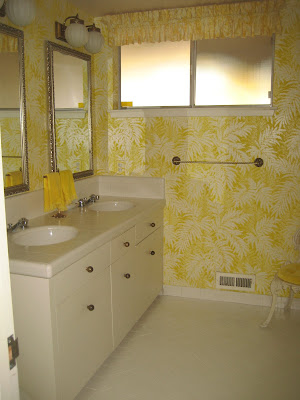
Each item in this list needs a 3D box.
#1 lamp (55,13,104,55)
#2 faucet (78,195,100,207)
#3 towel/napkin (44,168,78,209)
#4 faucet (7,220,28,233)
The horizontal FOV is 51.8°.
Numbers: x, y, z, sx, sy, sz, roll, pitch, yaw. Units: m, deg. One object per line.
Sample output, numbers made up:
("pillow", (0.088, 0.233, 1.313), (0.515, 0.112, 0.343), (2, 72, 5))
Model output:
("lamp", (-0.509, -1.200, 2.242), (0.250, 0.259, 0.430), (1, 7, 14))
("faucet", (-0.500, 0.010, 2.519), (0.061, 0.054, 0.178), (2, 8, 20))
("towel/napkin", (-0.622, -0.074, 2.131), (0.062, 0.219, 0.259), (4, 16, 21))
("faucet", (-0.741, 0.143, 1.753), (0.044, 0.051, 0.117), (10, 18, 21))
